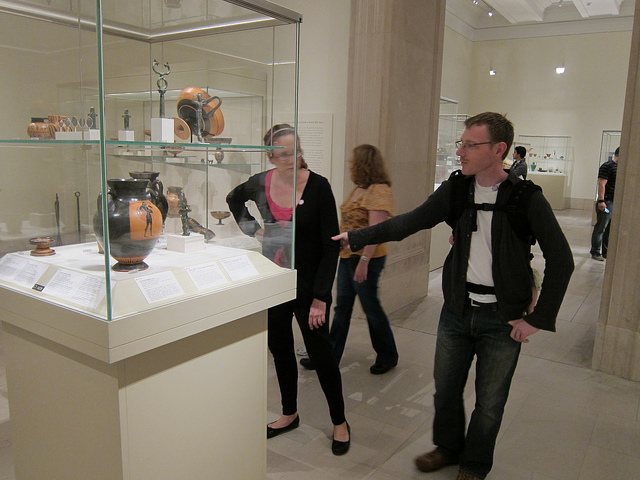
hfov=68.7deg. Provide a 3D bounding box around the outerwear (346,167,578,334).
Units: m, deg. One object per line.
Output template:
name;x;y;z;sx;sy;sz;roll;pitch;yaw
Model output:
outerwear;0.828;0.007;2.531;0.887;0.875;1.149;-11;17;-39

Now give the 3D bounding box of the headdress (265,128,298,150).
headdress;-0.188;-0.475;2.175;0.104;0.062;0.130;-5;2;7

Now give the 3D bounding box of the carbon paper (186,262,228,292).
carbon paper;-0.474;0.153;1.986;0.066;0.101;0.171;10;17;42

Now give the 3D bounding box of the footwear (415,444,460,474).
footwear;0.734;1.319;2.862;0.311;0.137;0.103;2;-9;-27

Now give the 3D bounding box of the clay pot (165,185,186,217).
clay pot;-0.570;-0.158;1.931;0.083;0.109;0.110;0;10;-8

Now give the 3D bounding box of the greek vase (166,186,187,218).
greek vase;-0.562;-0.157;1.932;0.085;0.112;0.109;1;8;-3

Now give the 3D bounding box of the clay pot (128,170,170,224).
clay pot;-0.649;-0.173;1.834;0.153;0.214;0.137;6;15;8

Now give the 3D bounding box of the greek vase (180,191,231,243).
greek vase;-0.503;-0.093;2.039;0.198;0.280;0.106;6;15;-18

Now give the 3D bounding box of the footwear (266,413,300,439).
footwear;-0.243;1.226;3.111;0.094;0.101;0.283;2;2;42

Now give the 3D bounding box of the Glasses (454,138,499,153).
Glasses;0.810;-0.494;2.446;0.174;0.046;0.045;6;15;30
